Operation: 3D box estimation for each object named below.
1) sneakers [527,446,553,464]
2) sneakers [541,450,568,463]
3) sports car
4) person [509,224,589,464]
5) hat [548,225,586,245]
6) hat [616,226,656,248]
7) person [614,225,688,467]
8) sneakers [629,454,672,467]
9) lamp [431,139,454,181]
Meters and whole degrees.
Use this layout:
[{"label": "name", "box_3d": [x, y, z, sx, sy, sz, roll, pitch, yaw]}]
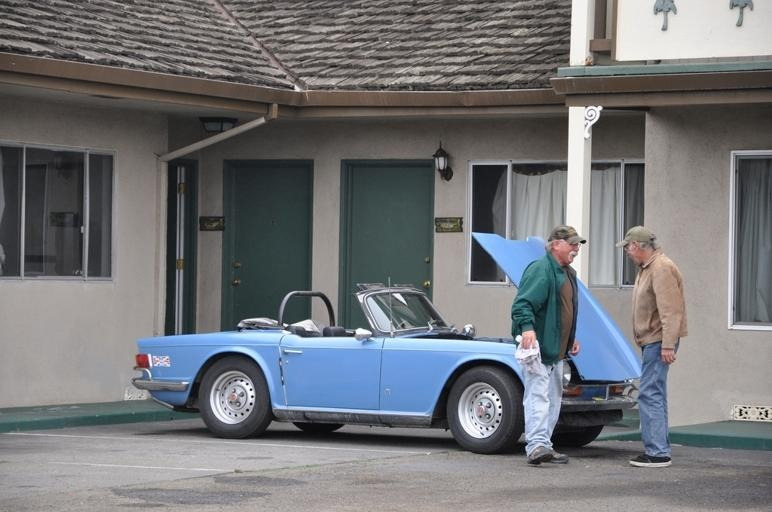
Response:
[{"label": "sneakers", "box_3d": [1.733, 2.331, 14.219, 0.324, 0.148, 0.144, -25, -25, 23]}, {"label": "sneakers", "box_3d": [1.991, 2.345, 14.330, 0.366, 0.154, 0.141, 0, 1, -17]}, {"label": "sports car", "box_3d": [0.152, 1.176, 16.064, 5.194, 1.654, 2.512, -2, -3, 20]}, {"label": "person", "box_3d": [1.862, 1.049, 14.380, 0.825, 2.770, 0.376, -1, 1, -35]}, {"label": "hat", "box_3d": [2.125, -0.224, 14.513, 0.375, 0.180, 0.250, 1, -3, 8]}, {"label": "hat", "box_3d": [2.939, -0.213, 14.615, 0.398, 0.228, 0.259, 4, 1, 15]}, {"label": "person", "box_3d": [3.108, 1.070, 14.407, 0.694, 2.785, 0.465, 0, 1, 28]}, {"label": "sneakers", "box_3d": [3.056, 2.400, 14.275, 0.447, 0.189, 0.171, 3, -3, 10]}, {"label": "lamp", "box_3d": [0.921, -1.510, 19.977, 0.305, 0.643, 0.212, 0, 1, 20]}]
